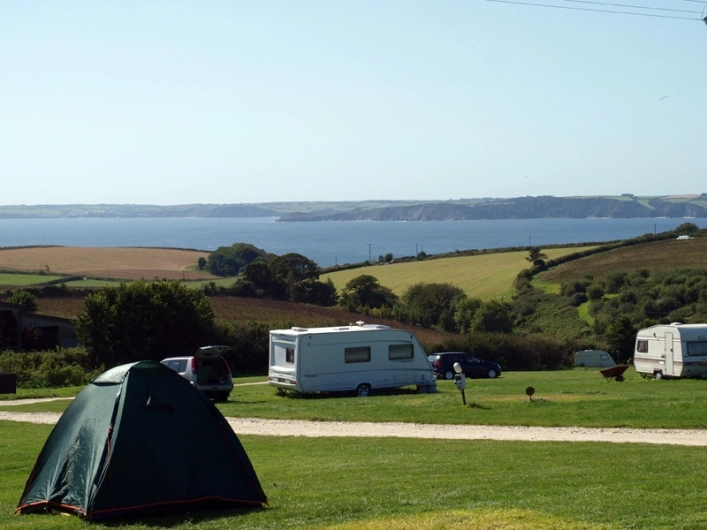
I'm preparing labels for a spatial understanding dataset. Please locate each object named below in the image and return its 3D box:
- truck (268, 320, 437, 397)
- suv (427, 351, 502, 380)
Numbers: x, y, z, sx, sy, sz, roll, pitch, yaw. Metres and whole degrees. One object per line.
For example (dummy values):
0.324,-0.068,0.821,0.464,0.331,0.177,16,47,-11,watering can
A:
0.148,4.098,46.712,6.872,3.542,2.694,-1,0,-29,truck
5.377,4.886,52.655,3.315,1.297,1.433,-1,-5,-18,suv
